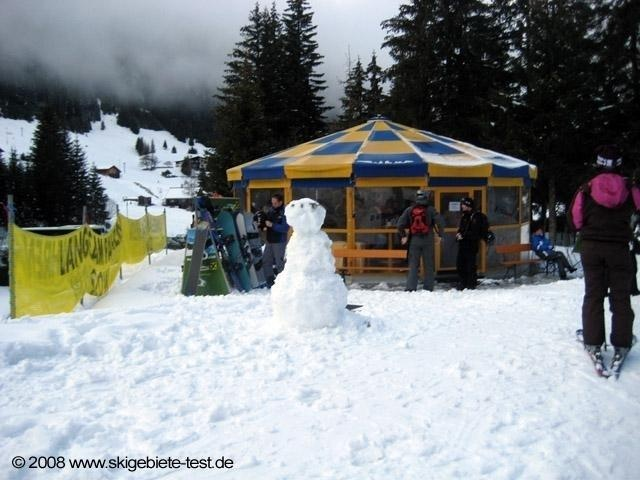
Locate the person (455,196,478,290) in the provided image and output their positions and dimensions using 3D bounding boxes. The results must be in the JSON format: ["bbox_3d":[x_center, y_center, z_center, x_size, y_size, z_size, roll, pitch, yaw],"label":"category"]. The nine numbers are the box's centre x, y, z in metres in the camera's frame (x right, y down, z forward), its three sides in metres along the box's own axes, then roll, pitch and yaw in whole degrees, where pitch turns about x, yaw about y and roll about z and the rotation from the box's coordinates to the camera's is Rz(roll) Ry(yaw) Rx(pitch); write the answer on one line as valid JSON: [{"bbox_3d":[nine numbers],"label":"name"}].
[{"bbox_3d":[3.146,0.115,12.010,0.453,1.924,0.637,3,13,14],"label":"person"}]

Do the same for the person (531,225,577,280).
[{"bbox_3d":[6.008,0.270,14.538,0.884,1.648,0.652,-14,-22,12],"label":"person"}]

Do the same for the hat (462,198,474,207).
[{"bbox_3d":[3.159,-0.807,12.039,0.214,0.153,0.327,6,15,21],"label":"hat"}]

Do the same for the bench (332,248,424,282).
[{"bbox_3d":[1.206,0.409,13.221,2.084,0.467,0.386,1,8,-19],"label":"bench"}]

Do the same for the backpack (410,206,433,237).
[{"bbox_3d":[1.978,-0.462,11.371,0.391,0.612,0.322,-4,29,7],"label":"backpack"}]

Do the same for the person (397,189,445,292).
[{"bbox_3d":[2.029,0.048,11.454,0.866,1.927,0.613,2,13,11],"label":"person"}]
